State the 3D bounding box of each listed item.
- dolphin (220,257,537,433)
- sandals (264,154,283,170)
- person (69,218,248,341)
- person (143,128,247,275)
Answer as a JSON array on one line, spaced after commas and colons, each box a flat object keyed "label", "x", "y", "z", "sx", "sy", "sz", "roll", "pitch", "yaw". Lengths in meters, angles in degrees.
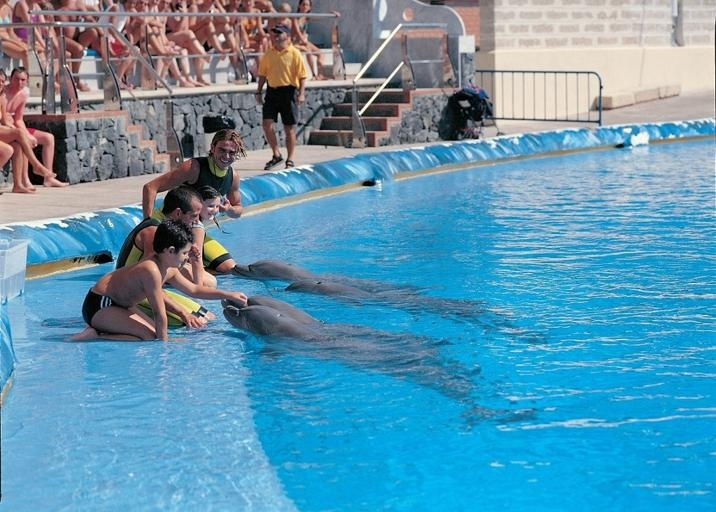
[{"label": "dolphin", "x": 0.051, "y": 0.587, "z": 5.605, "sx": 1.628, "sy": 0.366, "sz": 1.015, "roll": 9, "pitch": 9, "yaw": 23}, {"label": "sandals", "x": -1.184, "y": -1.344, "z": 11.267, "sx": 0.415, "sy": 0.145, "sz": 0.132, "roll": -23, "pitch": 17, "yaw": -26}, {"label": "person", "x": -1.441, "y": 0.153, "z": 5.663, "sx": 0.965, "sy": 0.861, "sz": 0.695, "roll": 1, "pitch": 9, "yaw": 29}, {"label": "person", "x": -1.304, "y": -0.408, "z": 6.660, "sx": 1.102, "sy": 1.290, "sz": 0.900, "roll": 1, "pitch": 20, "yaw": -25}]
